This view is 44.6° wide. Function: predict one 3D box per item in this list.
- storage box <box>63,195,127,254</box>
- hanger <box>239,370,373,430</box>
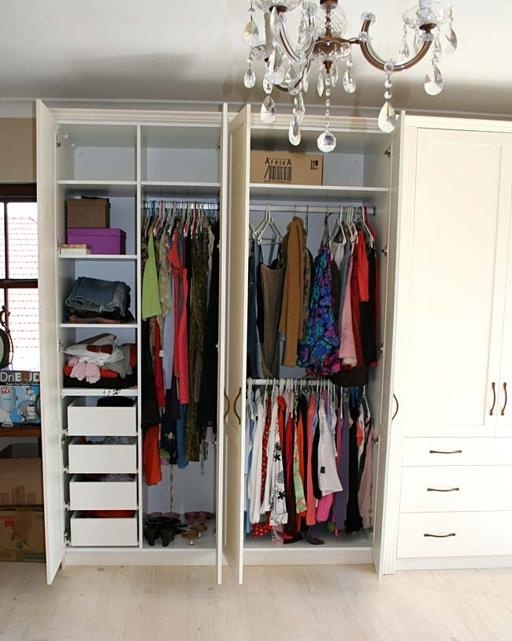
[{"bbox_3d":[-0.792,-0.452,3.037,0.212,0.307,0.272,0,5,-1],"label":"storage box"},{"bbox_3d":[0.264,0.374,3.201,0.735,0.360,0.249,-1,0,-7],"label":"hanger"}]
